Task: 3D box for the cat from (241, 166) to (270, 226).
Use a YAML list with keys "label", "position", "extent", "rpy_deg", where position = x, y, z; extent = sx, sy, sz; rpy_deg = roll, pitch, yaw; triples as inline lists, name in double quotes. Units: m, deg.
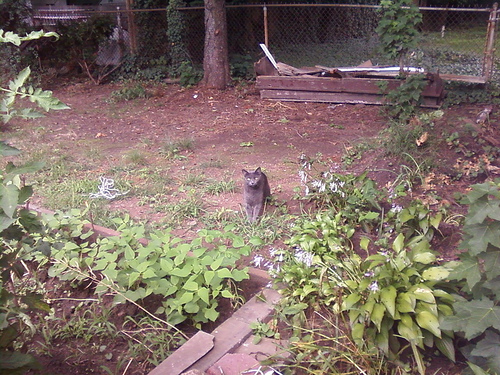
- label: "cat"
  position: [0.075, 0.099, 5.650]
  extent: [0.382, 0.653, 0.828]
  rpy_deg: [-1, 16, 2]
